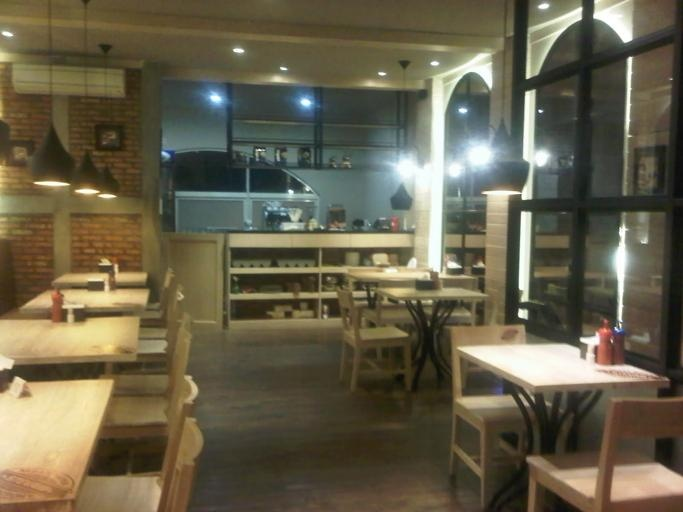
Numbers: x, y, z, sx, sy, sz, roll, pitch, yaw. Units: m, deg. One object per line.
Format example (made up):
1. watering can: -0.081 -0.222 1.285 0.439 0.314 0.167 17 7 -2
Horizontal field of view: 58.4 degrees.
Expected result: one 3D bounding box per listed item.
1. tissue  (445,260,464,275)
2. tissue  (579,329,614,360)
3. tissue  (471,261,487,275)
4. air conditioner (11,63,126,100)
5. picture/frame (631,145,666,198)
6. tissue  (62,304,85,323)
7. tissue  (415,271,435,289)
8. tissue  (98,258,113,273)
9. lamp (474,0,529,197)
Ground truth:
1. tissue : 1.416 0.151 7.679 0.176 0.117 0.320 0 0 1
2. tissue : 1.733 0.601 4.161 0.182 0.115 0.181 -2 3 -19
3. tissue : 1.778 0.152 7.932 0.162 0.163 0.165 0 1 26
4. air conditioner: -3.426 -2.216 7.836 1.213 0.461 0.372 -2 25 -17
5. picture/frame: 2.150 -0.606 4.270 0.077 0.339 0.287 -2 6 -20
6. tissue : -2.125 0.456 4.866 0.137 0.104 0.138 -1 3 -4
7. tissue : 0.900 0.260 6.570 0.177 0.118 0.186 -1 2 -8
8. tissue : -2.822 0.120 7.327 0.095 0.166 0.174 -1 4 -12
9. lamp: 1.347 -1.377 5.067 0.372 1.718 1.207 2 5 14
